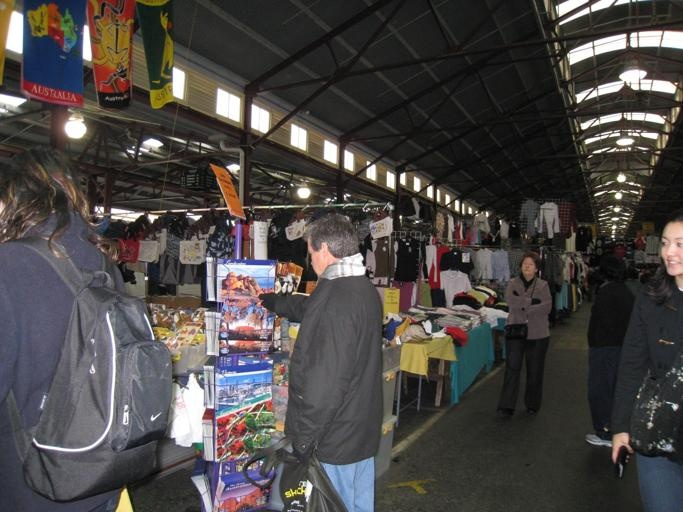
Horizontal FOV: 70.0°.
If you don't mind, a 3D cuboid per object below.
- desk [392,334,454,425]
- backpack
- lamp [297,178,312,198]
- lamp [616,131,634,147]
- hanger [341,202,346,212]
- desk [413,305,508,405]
[{"bbox_3d":[1.073,1.526,5.973,0.490,0.679,0.721,20,-20,-11],"label":"desk"},{"bbox_3d":[-0.940,0.530,1.916,0.508,0.790,0.235,-1,3,-40],"label":"backpack"},{"bbox_3d":[-0.922,-1.711,12.149,0.435,0.496,0.984,3,16,-4],"label":"lamp"},{"bbox_3d":[6.485,-2.710,11.137,0.288,0.435,0.797,2,3,32],"label":"lamp"},{"bbox_3d":[0.044,-0.821,8.236,0.062,0.193,0.191,7,-34,5],"label":"hanger"},{"bbox_3d":[1.717,1.385,7.240,0.722,0.825,2.127,9,2,28],"label":"desk"}]
